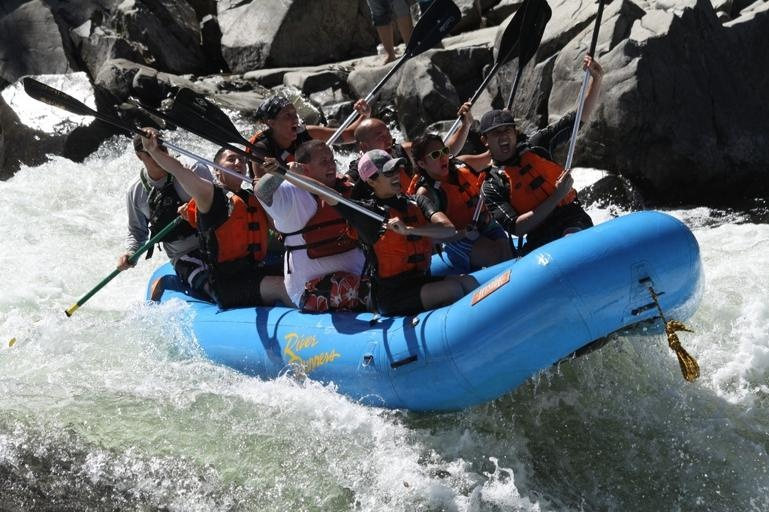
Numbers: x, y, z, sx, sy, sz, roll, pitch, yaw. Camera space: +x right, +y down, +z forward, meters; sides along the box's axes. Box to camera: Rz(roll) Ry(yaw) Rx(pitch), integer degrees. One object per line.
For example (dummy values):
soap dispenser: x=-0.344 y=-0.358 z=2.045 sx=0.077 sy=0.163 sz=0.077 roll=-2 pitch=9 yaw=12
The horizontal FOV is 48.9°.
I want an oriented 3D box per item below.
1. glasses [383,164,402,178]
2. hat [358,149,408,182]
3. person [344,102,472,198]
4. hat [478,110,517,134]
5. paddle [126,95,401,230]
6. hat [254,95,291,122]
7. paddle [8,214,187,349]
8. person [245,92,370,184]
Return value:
glasses: x=0.052 y=-0.658 z=6.578 sx=0.081 sy=0.109 sz=0.053 roll=-8 pitch=56 yaw=-27
hat: x=-0.014 y=-0.722 z=6.650 sx=0.309 sy=0.180 sz=0.212 roll=-26 pitch=10 yaw=21
person: x=-0.016 y=-0.957 z=8.013 sx=0.902 sy=0.509 sz=1.364 roll=-2 pitch=-1 yaw=-8
hat: x=0.960 y=-1.151 z=7.252 sx=0.284 sy=0.216 sz=0.199 roll=-13 pitch=40 yaw=-4
paddle: x=-1.107 y=-0.827 z=7.737 sx=2.831 sy=0.448 sz=0.409 roll=32 pitch=47 yaw=8
hat: x=-1.036 y=-1.348 z=7.813 sx=0.276 sy=0.164 sz=0.222 roll=-29 pitch=17 yaw=16
paddle: x=-2.861 y=0.291 z=8.396 sx=1.688 sy=0.153 sz=0.230 roll=-41 pitch=14 yaw=-1
person: x=-0.763 y=-1.128 z=7.869 sx=1.034 sy=0.406 sz=0.802 roll=-5 pitch=36 yaw=43
